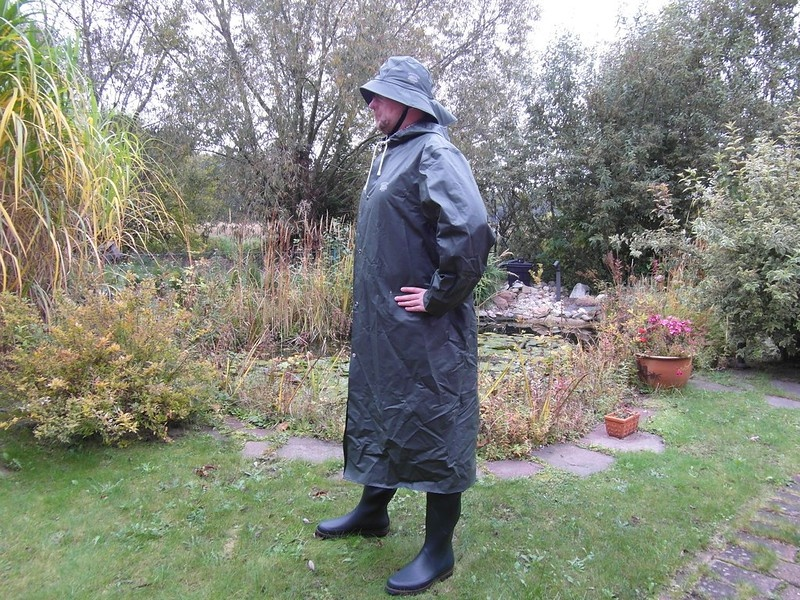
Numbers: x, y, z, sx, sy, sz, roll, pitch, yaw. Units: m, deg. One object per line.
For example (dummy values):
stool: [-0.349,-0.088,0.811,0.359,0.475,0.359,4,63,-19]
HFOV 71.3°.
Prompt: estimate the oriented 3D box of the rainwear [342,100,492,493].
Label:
rainwear: [0.088,0.046,2.944,0.736,1.763,0.600,3,13,9]

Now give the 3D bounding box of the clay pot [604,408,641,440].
clay pot: [1.784,0.977,4.510,0.171,0.167,0.288,1,2,45]

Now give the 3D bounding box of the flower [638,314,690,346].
flower: [2.649,0.303,5.627,0.477,0.337,0.329,9,16,27]

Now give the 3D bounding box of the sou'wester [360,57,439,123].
sou'wester: [0.024,-1.095,3.092,0.370,0.240,0.346,22,-1,-36]

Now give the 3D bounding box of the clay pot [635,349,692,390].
clay pot: [2.579,0.682,5.475,0.345,0.267,0.380,0,-7,10]
